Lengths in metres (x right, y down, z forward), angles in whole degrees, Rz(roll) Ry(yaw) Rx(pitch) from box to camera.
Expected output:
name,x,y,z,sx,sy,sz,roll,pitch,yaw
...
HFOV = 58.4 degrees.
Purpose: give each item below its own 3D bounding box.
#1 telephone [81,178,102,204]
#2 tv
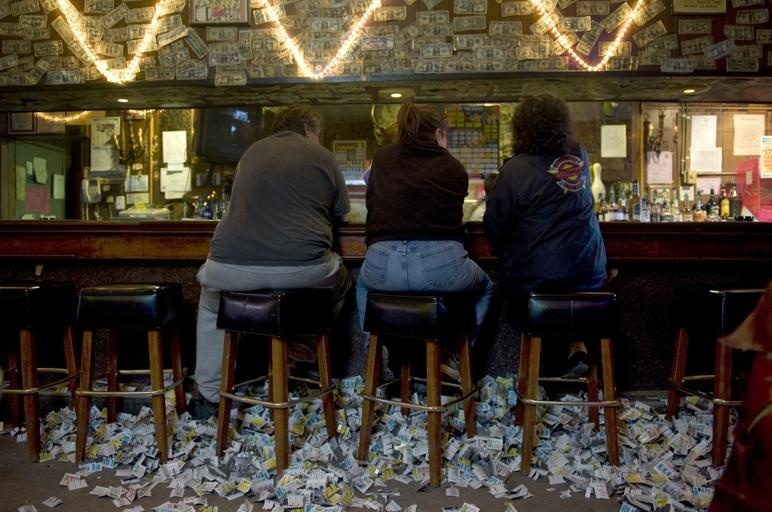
name,x,y,z,sx,sy,sz,roll,pitch,yaw
telephone,-3.361,-0.747,7.907,0.174,0.277,0.221,-1,3,-28
tv,-1.638,-1.253,7.115,0.712,0.525,0.942,-1,6,0
